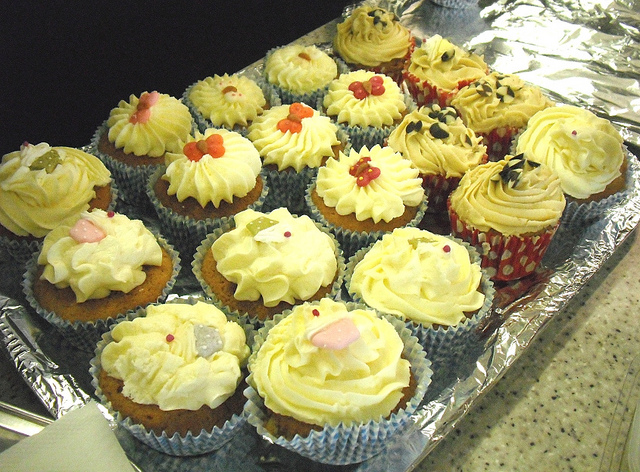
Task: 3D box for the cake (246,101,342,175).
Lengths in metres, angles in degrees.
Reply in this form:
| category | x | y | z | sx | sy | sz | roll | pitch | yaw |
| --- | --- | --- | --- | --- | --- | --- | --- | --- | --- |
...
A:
| category | x | y | z | sx | sy | sz | roll | pitch | yaw |
| --- | --- | --- | --- | --- | --- | --- | --- | --- | --- |
| cake | -0.231 | -0.738 | 4.717 | 0.591 | 0.256 | 0.683 | 19 | 43 | 20 |
